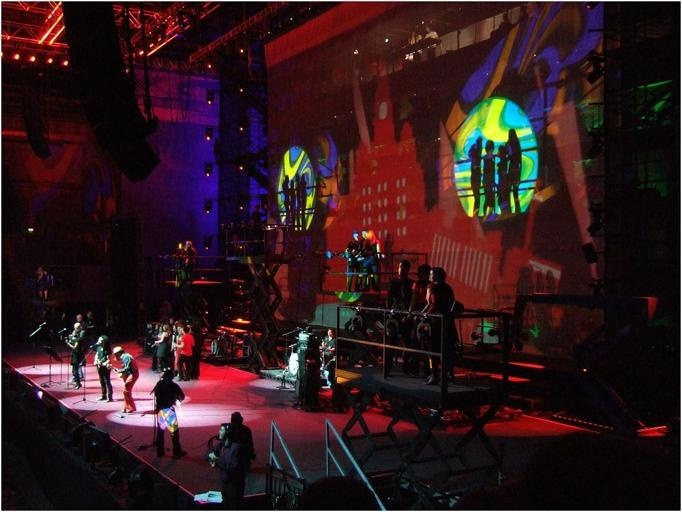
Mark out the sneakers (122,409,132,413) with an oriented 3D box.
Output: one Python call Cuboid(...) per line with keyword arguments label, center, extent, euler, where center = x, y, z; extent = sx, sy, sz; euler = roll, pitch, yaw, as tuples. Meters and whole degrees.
Cuboid(label="sneakers", center=(-6.010, 4.404, 16.378), extent=(0.288, 0.129, 0.120), euler=(-4, -4, 26))
